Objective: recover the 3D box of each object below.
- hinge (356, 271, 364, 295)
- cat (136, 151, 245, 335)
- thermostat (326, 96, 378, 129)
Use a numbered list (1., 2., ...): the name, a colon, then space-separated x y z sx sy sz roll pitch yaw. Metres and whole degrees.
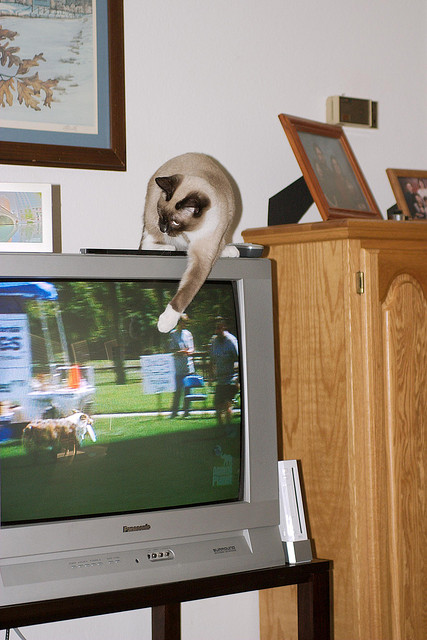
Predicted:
1. hinge: 0.325 -0.080 1.340 0.016 0.049 0.007 -4 0 -29
2. cat: -0.070 -0.221 1.342 0.305 0.477 0.243 -4 -38 1
3. thermostat: 0.428 -0.640 1.881 0.146 0.110 0.067 -7 17 -31
